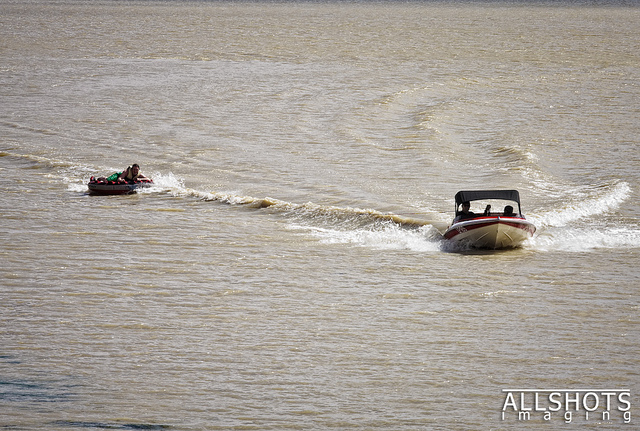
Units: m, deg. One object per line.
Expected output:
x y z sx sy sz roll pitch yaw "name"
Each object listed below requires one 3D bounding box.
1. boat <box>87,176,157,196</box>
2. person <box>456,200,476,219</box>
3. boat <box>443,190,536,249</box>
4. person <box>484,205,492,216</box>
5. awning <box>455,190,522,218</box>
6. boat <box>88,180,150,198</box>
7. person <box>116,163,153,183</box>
-10.815 -1.545 76.972 3.046 0.580 1.180 -1 3 -16 "boat"
7.595 -0.268 72.097 1.623 0.807 0.576 3 -20 2 "person"
8.843 -0.268 73.466 4.811 1.978 6.361 -4 14 -5 "boat"
8.658 -0.238 71.191 0.309 0.165 0.684 26 43 6 "person"
8.845 -0.553 72.749 3.072 0.884 1.616 -1 17 0 "awning"
-10.986 -1.466 76.847 3.561 0.476 0.834 -3 2 -16 "boat"
-10.094 -2.287 76.895 1.866 0.983 0.652 -7 25 -17 "person"
